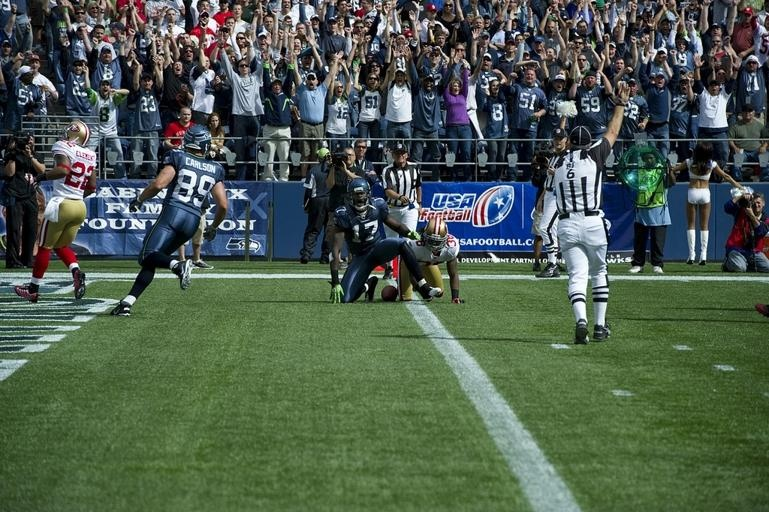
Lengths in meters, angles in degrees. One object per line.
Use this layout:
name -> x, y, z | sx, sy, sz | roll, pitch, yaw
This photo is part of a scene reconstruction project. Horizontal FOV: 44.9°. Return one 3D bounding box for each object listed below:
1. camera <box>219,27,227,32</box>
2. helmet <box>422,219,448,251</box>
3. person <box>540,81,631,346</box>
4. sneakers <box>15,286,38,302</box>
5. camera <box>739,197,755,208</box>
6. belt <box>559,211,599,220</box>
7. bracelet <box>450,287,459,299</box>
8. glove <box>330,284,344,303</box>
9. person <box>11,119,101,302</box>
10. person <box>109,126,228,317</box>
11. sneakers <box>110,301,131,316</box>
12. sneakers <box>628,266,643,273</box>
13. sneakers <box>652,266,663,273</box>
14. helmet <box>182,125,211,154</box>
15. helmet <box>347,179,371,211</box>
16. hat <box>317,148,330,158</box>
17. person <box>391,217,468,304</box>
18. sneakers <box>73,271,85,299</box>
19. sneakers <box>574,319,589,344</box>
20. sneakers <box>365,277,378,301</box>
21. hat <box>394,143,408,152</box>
camera -> -3.498, -4.922, 20.292 | 0.055, 0.104, 0.168 | 14, -3, -40
helmet -> 0.716, -0.270, 13.136 | 0.349, 0.424, 0.505 | 9, 17, -6
person -> 2.390, -0.427, 10.900 | 0.780, 2.783, 1.190 | 1, 3, 15
sneakers -> -5.082, 0.552, 13.295 | 0.300, 0.119, 0.149 | 17, 34, 23
camera -> 7.093, -1.020, 18.289 | 0.226, 0.241, 0.156 | -6, 51, -45
belt -> 2.206, -0.454, 10.496 | 0.430, 0.105, 0.132 | 1, 3, 14
bracelet -> 1.053, 0.567, 13.478 | 0.127, 0.206, 0.119 | 2, -3, -42
glove -> -0.656, 0.551, 13.267 | 0.186, 0.260, 0.076 | -2, 4, -5
person -> -4.472, -0.614, 13.022 | 0.858, 2.562, 1.191 | -2, 3, -36
person -> -2.647, -0.436, 11.752 | 1.305, 2.416, 0.744 | -1, 2, -13
sneakers -> -3.350, 0.684, 11.877 | 0.129, 0.170, 0.328 | -1, 3, -44
sneakers -> 4.981, 0.295, 18.456 | 0.114, 0.150, 0.326 | -3, -6, 27
sneakers -> 5.337, 0.289, 18.172 | 0.152, 0.120, 0.162 | 8, -7, 2
helmet -> -2.420, -1.541, 11.959 | 0.334, 0.342, 0.312 | -16, 37, -25
helmet -> -0.359, -0.863, 13.167 | 0.306, 0.458, 0.317 | 0, 3, 8
hat -> -1.173, -2.023, 18.287 | 0.176, 0.145, 0.261 | -18, -2, -31
person -> 0.651, 0.105, 13.311 | 0.755, 1.317, 1.517 | -4, 12, -15
sneakers -> -4.153, 0.392, 12.718 | 0.129, 0.402, 0.261 | -1, 3, -27
sneakers -> 2.217, 0.860, 10.476 | 0.141, 0.275, 0.188 | 1, 3, 12
sneakers -> -0.175, 0.480, 13.752 | 0.133, 0.408, 0.157 | 22, 23, 29
hat -> 0.295, -1.858, 16.249 | 0.183, 0.151, 0.432 | 0, 4, 4
